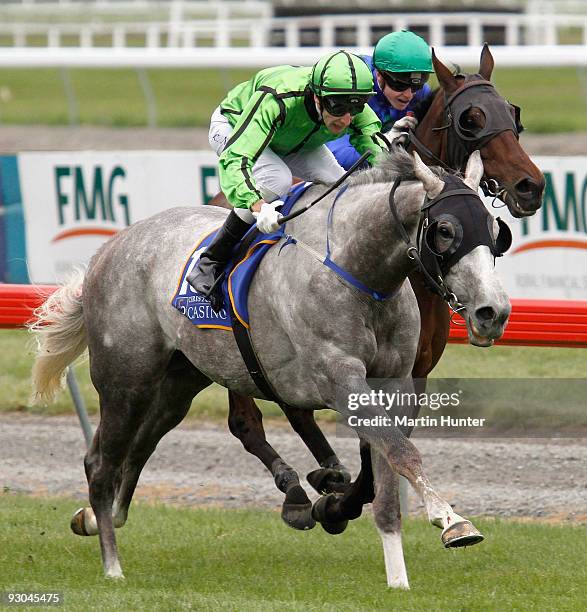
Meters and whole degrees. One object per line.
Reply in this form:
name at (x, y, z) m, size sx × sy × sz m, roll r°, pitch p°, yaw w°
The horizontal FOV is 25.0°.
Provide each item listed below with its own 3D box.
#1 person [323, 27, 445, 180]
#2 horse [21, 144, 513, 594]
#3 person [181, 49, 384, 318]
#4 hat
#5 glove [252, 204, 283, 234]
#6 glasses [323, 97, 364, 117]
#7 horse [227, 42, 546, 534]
person at (0.297, -0.927, 5.721) m, size 0.256 × 0.509 × 1.046 m, roll -4°, pitch 17°, yaw -23°
horse at (-0.127, 0.235, 4.917) m, size 0.850 × 1.612 × 2.104 m, roll -7°, pitch 9°, yaw -39°
person at (0.009, -0.527, 5.062) m, size 0.746 × 0.976 × 0.795 m, roll -17°, pitch 31°, yaw -27°
hat at (0.361, -0.980, 5.342) m, size 0.235 × 0.250 × 0.281 m, roll -14°, pitch 51°, yaw -17°
glove at (-0.088, -0.313, 4.665) m, size 0.091 × 0.046 × 0.112 m, roll 24°, pitch 49°, yaw -18°
glasses at (0.178, -0.709, 4.724) m, size 0.157 × 0.070 × 0.095 m, roll -2°, pitch 7°, yaw -11°
horse at (0.195, 0.009, 5.542) m, size 0.576 × 1.616 × 2.344 m, roll -27°, pitch 27°, yaw -23°
